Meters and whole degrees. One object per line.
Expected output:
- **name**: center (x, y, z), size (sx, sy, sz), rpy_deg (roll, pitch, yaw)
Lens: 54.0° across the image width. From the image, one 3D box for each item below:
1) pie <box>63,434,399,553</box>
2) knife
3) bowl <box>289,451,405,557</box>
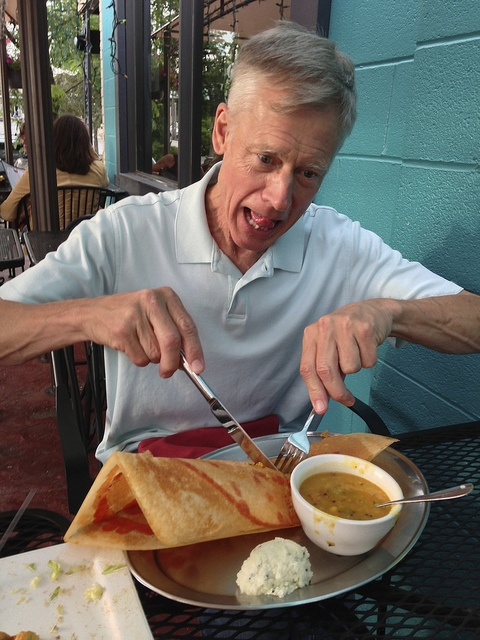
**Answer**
- **pie**: center (0.038, 0.266, 0.950), size (0.711, 0.168, 0.189), rpy_deg (2, 7, -36)
- **knife**: center (-0.044, 0.239, 1.265), size (0.034, 0.346, 0.034), rpy_deg (-20, 23, 43)
- **bowl**: center (0.180, 0.331, 0.832), size (0.184, 0.097, 0.192), rpy_deg (3, 17, -1)
